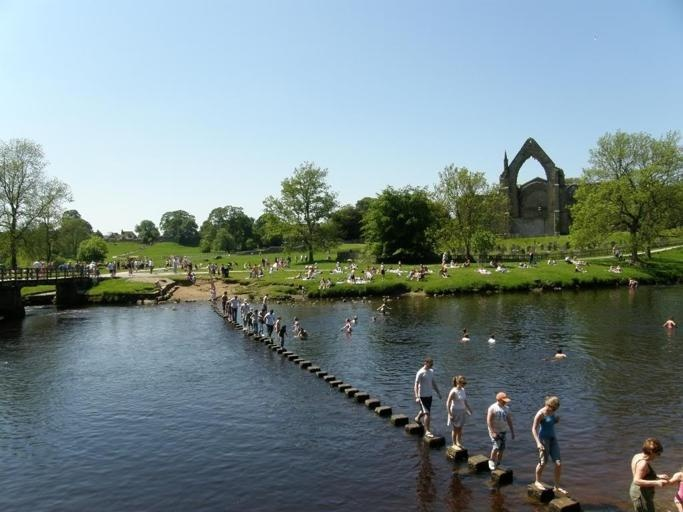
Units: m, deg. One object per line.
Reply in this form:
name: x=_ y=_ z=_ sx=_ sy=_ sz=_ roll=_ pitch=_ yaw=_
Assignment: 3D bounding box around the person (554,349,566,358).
person: x=15.464 y=6.908 z=45.866 sx=0.801 sy=0.681 sz=0.581 roll=-7 pitch=11 yaw=-24
